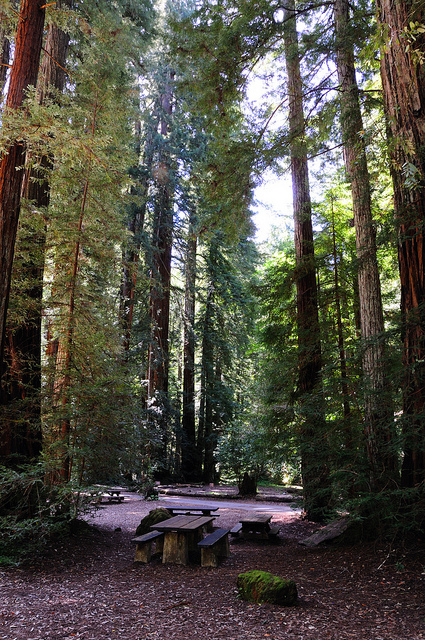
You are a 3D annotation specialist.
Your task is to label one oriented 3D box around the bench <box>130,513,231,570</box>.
[{"bbox_3d":[-0.432,3.112,7.612,1.060,0.438,1.029,-3,-15,14],"label":"bench"}]
